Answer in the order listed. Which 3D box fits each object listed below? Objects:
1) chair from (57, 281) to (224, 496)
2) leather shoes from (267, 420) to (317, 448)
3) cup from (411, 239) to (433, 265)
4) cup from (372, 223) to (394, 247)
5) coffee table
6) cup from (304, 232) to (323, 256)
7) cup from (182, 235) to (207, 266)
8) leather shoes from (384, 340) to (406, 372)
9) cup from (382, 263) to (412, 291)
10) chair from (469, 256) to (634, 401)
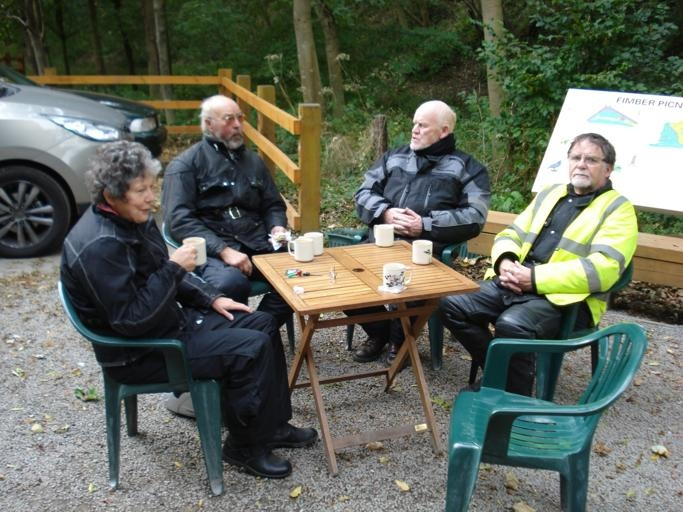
[{"bbox_3d":[-1.043,0.737,4.224,1.173,1.594,1.249,-3,10,-8],"label":"chair"},{"bbox_3d":[-0.311,1.131,3.958,0.329,0.221,0.130,-7,29,-14],"label":"leather shoes"},{"bbox_3d":[0.527,-0.031,4.098,0.143,0.146,0.154,0,12,0],"label":"cup"},{"bbox_3d":[0.304,-0.148,4.358,0.127,0.135,0.161,7,13,31],"label":"cup"},{"bbox_3d":[0.094,0.446,4.259,1.424,1.220,1.427,-7,20,-21],"label":"coffee table"},{"bbox_3d":[-0.193,-0.096,4.237,0.144,0.148,0.151,2,25,-1],"label":"cup"},{"bbox_3d":[-0.892,-0.026,3.772,0.123,0.136,0.189,1,10,2],"label":"cup"},{"bbox_3d":[0.412,0.749,4.677,0.110,0.112,0.270,-2,13,-11],"label":"leather shoes"},{"bbox_3d":[0.318,0.123,3.707,0.197,0.140,0.124,-4,13,-20],"label":"cup"},{"bbox_3d":[1.513,0.634,4.326,0.912,1.179,0.858,0,-12,17],"label":"chair"}]
